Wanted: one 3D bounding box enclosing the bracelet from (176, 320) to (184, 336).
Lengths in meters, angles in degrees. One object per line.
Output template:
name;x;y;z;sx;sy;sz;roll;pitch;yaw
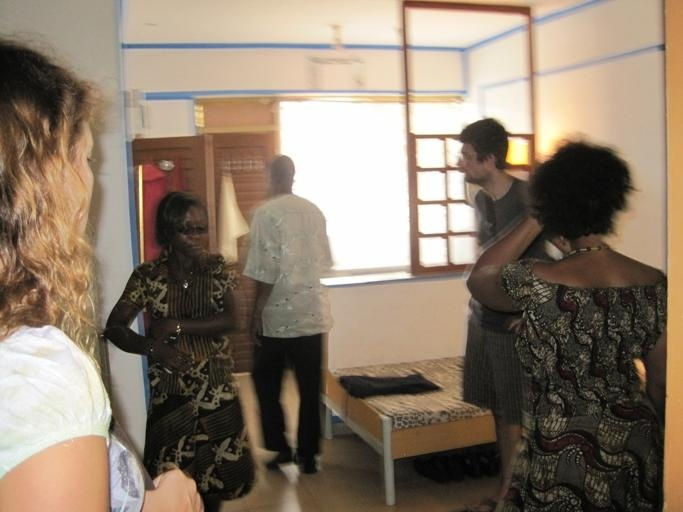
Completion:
bracelet;-0.498;0.224;1.925;0.012;0.036;0.025;-3;-5;-9

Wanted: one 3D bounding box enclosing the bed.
bed;0.242;0.526;2.086;0.528;0.239;0.407;-5;10;-23
